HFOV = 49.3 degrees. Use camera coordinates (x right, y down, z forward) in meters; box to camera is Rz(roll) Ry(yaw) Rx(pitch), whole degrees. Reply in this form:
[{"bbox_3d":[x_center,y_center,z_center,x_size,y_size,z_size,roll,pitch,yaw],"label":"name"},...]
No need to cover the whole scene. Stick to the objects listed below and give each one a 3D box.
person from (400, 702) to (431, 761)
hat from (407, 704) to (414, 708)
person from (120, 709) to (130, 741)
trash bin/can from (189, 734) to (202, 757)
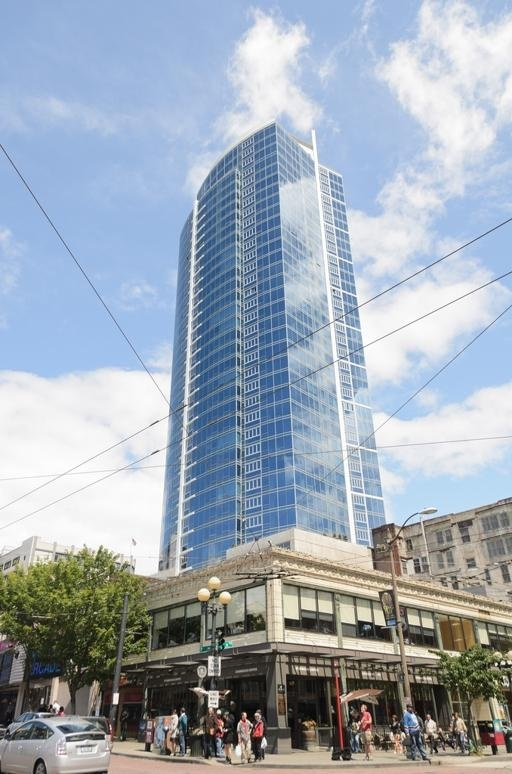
[{"bbox_3d":[4.720,10.241,16.518,0.465,1.452,0.376,-5,-22,-4],"label":"person"},{"bbox_3d":[4.577,9.508,16.526,0.143,0.148,0.114,2,-20,-1],"label":"hat"},{"bbox_3d":[-7.845,20.157,33.223,0.549,1.466,2.861,5,-30,-11],"label":"person"},{"bbox_3d":[-2.091,12.718,19.734,0.629,0.724,0.648,-1,-27,-3],"label":"trash bin/can"}]
